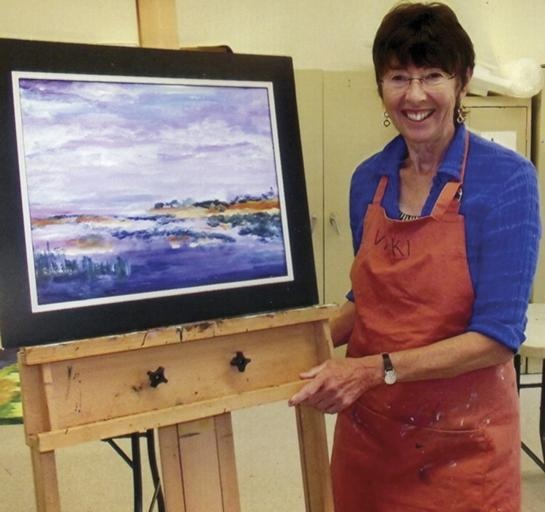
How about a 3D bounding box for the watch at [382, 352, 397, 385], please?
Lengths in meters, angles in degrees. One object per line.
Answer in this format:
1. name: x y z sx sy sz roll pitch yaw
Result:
1. watch: 0.256 0.248 1.274 0.034 0.060 0.061 -7 31 2
